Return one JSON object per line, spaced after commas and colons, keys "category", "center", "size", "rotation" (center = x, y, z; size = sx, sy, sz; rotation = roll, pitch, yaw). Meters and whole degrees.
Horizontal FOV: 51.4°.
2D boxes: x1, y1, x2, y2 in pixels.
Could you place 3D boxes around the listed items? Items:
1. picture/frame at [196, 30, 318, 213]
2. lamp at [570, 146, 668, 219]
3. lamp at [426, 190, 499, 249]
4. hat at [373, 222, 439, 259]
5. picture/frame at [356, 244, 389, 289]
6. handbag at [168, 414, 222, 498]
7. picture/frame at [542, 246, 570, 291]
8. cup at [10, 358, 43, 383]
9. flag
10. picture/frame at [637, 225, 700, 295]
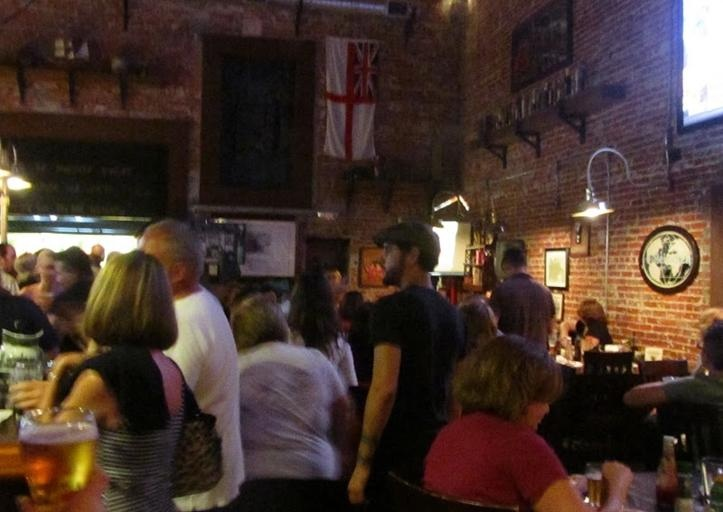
{"category": "picture/frame", "center": [-1.191, -1.503, 8.497], "size": [1.266, 1.845, 0.123], "rotation": [-1, 12, -23]}
{"category": "lamp", "center": [2.811, -0.852, 8.564], "size": [0.419, 0.822, 0.926], "rotation": [10, -15, -36]}
{"category": "lamp", "center": [1.664, -0.650, 12.634], "size": [1.086, 1.209, 0.751], "rotation": [1, 1, 2]}
{"category": "hat", "center": [0.302, -0.092, 4.952], "size": [0.322, 0.171, 0.238], "rotation": [23, -5, 8]}
{"category": "picture/frame", "center": [0.117, 0.186, 11.812], "size": [0.722, 0.926, 0.140], "rotation": [0, -3, -1]}
{"category": "handbag", "center": [-0.888, 1.073, 4.030], "size": [0.099, 0.416, 0.284], "rotation": [1, -4, 44]}
{"category": "picture/frame", "center": [2.558, 0.172, 9.881], "size": [0.045, 0.549, 0.504], "rotation": [-1, 1, -22]}
{"category": "cup", "center": [-2.005, 0.680, 4.496], "size": [0.139, 0.151, 0.147], "rotation": [0, -11, 0]}
{"category": "flag", "center": [-0.171, -2.272, 10.954], "size": [0.737, 1.744, 0.420], "rotation": [1, 0, -3]}
{"category": "picture/frame", "center": [3.195, 0.043, 7.775], "size": [0.066, 0.710, 0.676], "rotation": [6, -4, -14]}
